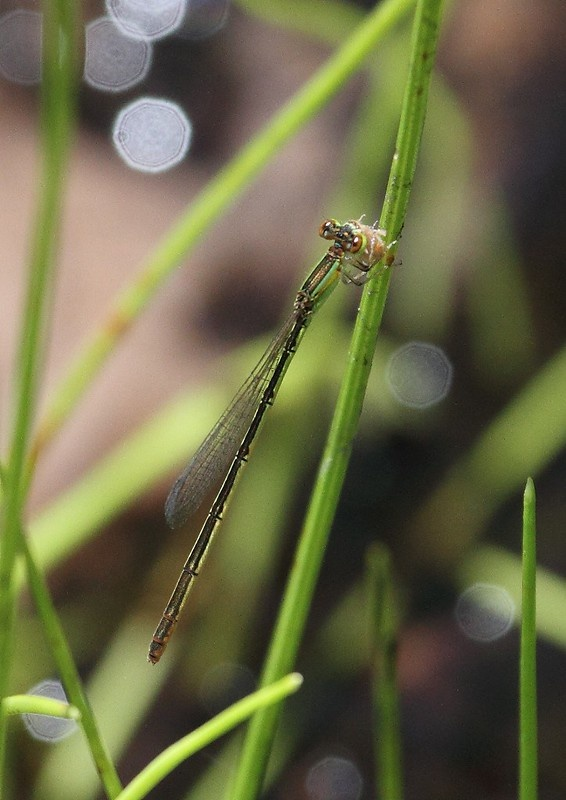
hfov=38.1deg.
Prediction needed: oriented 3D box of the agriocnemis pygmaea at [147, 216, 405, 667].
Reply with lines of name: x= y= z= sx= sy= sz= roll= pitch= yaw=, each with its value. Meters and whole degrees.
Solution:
agriocnemis pygmaea: x=-0.005 y=0.026 z=0.486 sx=0.066 sy=0.282 sz=0.042 roll=31 pitch=-1 yaw=40
